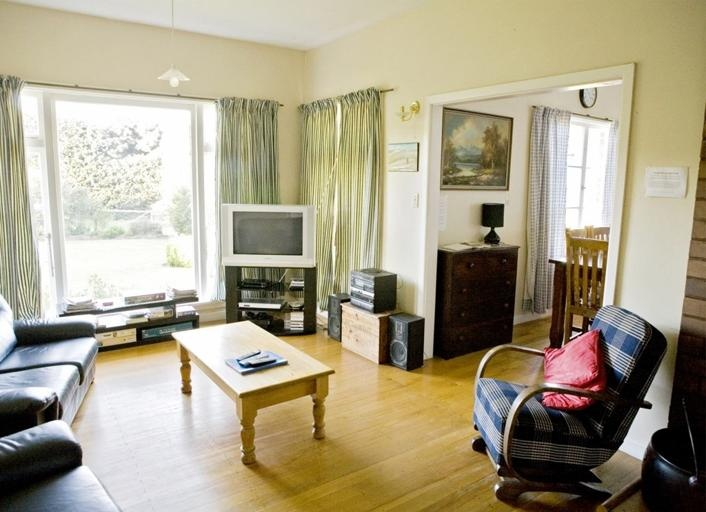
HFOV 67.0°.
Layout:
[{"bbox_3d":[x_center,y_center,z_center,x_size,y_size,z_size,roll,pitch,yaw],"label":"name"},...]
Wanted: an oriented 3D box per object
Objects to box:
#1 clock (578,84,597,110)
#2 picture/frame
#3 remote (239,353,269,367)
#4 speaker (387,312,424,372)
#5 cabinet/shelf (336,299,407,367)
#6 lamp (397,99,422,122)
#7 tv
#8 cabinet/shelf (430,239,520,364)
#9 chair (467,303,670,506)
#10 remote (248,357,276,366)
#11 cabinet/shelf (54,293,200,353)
[{"bbox_3d":[2.853,-1.920,6.474,0.414,0.251,0.074,-10,13,-39],"label":"clock"},{"bbox_3d":[1.246,-1.147,5.533,1.046,0.745,0.043,-3,7,-37],"label":"picture/frame"},{"bbox_3d":[-0.716,0.766,3.931,0.089,0.030,0.154,10,11,39],"label":"remote"},{"bbox_3d":[0.495,0.809,5.047,0.241,0.478,0.292,-9,12,-34],"label":"speaker"},{"bbox_3d":[0.211,0.779,5.426,0.438,0.567,0.767,-7,10,-31],"label":"cabinet/shelf"},{"bbox_3d":[0.513,-1.376,5.060,0.073,0.184,0.288,-10,13,-39],"label":"lamp"},{"bbox_3d":[-0.906,-0.258,5.902,1.051,0.681,0.588,0,11,-5],"label":"tv"},{"bbox_3d":[1.204,0.446,5.479,1.050,1.016,0.447,-4,11,-36],"label":"cabinet/shelf"},{"bbox_3d":[1.416,0.951,3.615,1.046,1.103,0.834,0,10,-1],"label":"chair"},{"bbox_3d":[-0.668,0.776,3.917,0.213,0.033,0.103,-5,10,-19],"label":"remote"},{"bbox_3d":[-2.161,0.705,5.578,1.157,0.404,0.359,-8,-1,-1],"label":"cabinet/shelf"}]
